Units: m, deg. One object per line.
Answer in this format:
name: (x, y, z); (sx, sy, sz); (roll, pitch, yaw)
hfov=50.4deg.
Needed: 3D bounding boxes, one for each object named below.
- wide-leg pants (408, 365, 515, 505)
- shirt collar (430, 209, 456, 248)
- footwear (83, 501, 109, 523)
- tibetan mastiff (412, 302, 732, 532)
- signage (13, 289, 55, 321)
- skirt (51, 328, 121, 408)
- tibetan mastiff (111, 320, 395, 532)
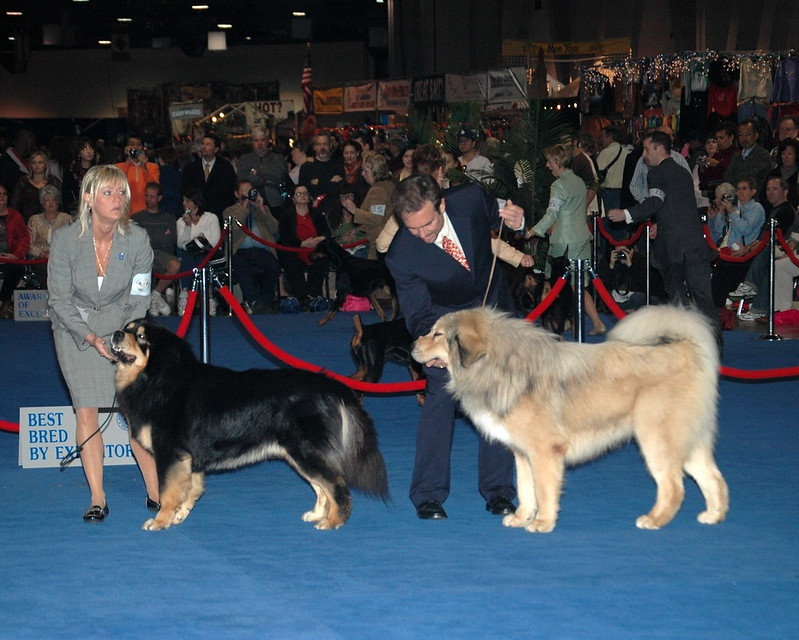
wide-leg pants: (0.459, 0.846, 6.048); (0.834, 1.538, 0.408); (3, 17, 14)
shirt collar: (0.318, -0.619, 5.810); (0.147, 0.244, 0.057); (-5, -6, -21)
footwear: (-2.120, 1.342, 5.939); (0.096, 0.082, 0.254); (-1, -10, -4)
tibetan mastiff: (1.218, 0.670, 5.802); (2.025, 1.562, 0.655); (-1, 4, 10)
signage: (-5.563, -0.234, 12.901); (0.730, 0.658, 0.083); (-2, 20, -8)
skirt: (-2.187, 0.351, 6.032); (0.370, 0.595, 0.401); (7, 9, 41)
tibetan mastiff: (-0.972, 0.764, 5.883); (1.849, 1.365, 0.635); (2, 3, -2)
